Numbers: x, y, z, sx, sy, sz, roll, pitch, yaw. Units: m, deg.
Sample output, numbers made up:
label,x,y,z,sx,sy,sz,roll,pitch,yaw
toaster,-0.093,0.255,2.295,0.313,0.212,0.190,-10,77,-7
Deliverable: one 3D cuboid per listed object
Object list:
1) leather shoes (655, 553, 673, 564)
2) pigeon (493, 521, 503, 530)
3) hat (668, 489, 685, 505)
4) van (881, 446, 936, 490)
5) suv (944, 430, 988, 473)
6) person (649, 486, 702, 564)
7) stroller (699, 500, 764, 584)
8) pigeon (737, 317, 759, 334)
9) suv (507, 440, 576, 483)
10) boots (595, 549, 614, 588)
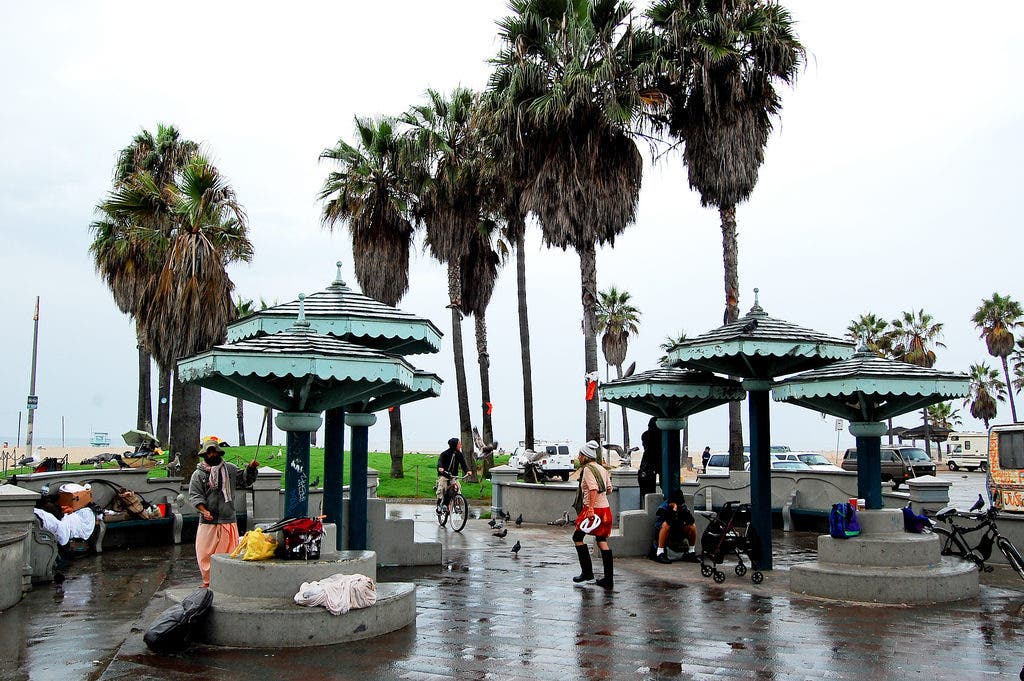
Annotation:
label,x,y,z,sx,sy,sz,roll,pitch,yaw
leather shoes,3.185,4.536,19.062,0.317,0.218,0.265,0,-8,-1
pigeon,-0.344,4.901,24.053,0.223,0.098,0.200,0,1,-42
hat,3.413,3.249,18.905,0.242,0.339,0.318,2,-13,-1
van,19.274,5.879,44.593,2.220,1.625,3.095,-4,-9,23
suv,29.682,7.228,59.634,1.436,2.655,5.802,-2,-9,14
person,3.450,3.877,19.278,1.014,1.509,1.046,0,-4,31
stroller,4.494,3.772,17.654,1.207,1.692,1.058,-3,6,35
pigeon,4.638,-0.273,17.907,0.430,0.268,0.633,-5,-5,3
suv,1.253,5.201,40.043,2.853,1.866,9.913,-1,-9,6
boots,1.706,4.156,16.678,0.333,0.682,0.760,-1,-8,5
